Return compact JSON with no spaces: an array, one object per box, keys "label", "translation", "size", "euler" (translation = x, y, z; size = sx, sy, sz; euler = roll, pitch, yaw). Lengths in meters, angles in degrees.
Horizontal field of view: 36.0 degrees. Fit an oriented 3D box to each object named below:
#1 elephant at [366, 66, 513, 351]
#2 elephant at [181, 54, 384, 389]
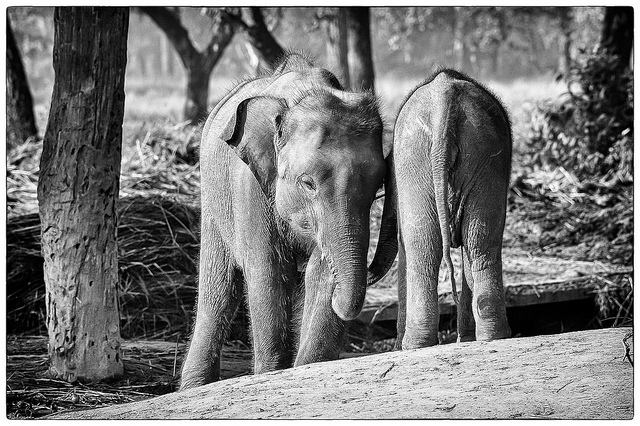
[{"label":"elephant","translation":[0.807,-0.038,6.416],"size":[0.885,1.875,0.524],"euler":[0,-4,3]},{"label":"elephant","translation":[-0.224,0.156,6.897],"size":[1.080,2.172,2.376],"euler":[3,-5,-23]}]
